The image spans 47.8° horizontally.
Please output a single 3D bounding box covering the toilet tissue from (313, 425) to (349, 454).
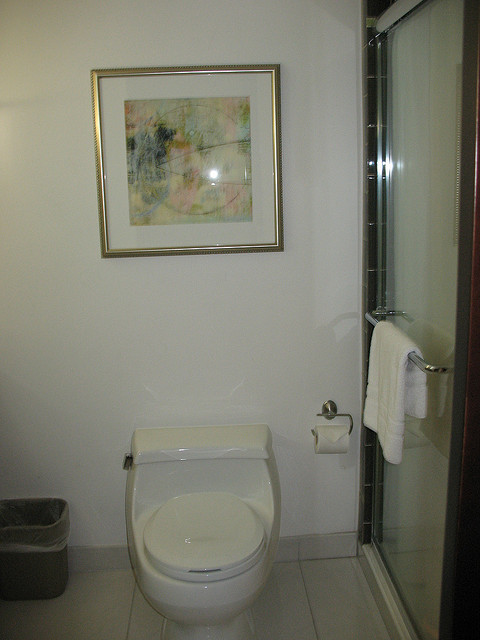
[{"bbox_3d":[0.307,0.395,1.793,0.089,0.123,0.082,0,3,-1],"label":"toilet tissue"}]

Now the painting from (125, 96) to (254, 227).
[{"bbox_3d":[-0.160,-0.528,1.789,0.403,0.579,0.012,-2,-30,-4],"label":"painting"}]

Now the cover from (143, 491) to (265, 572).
[{"bbox_3d":[-0.104,0.609,1.546,0.346,0.076,0.323,7,15,-10],"label":"cover"}]

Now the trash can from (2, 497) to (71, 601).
[{"bbox_3d":[-0.730,0.819,1.980,0.196,0.282,0.307,0,-8,-5],"label":"trash can"}]

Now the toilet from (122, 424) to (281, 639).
[{"bbox_3d":[-0.115,0.570,1.684,0.369,0.643,0.580,-1,5,-3],"label":"toilet"}]
